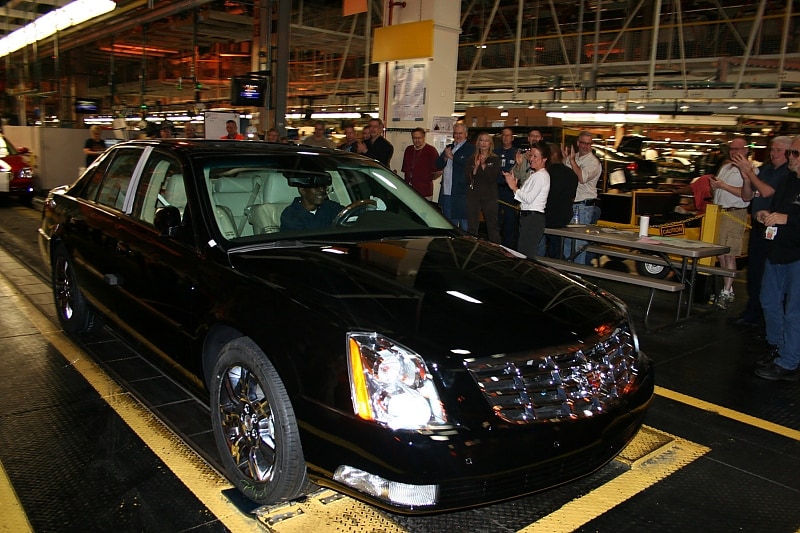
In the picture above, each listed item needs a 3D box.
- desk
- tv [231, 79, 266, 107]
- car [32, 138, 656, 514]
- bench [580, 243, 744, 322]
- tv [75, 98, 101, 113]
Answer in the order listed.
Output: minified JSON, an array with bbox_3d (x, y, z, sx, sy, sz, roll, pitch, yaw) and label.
[{"bbox_3d":[3.543,-0.117,7.236,1.859,0.840,2.854,-9,15,-35],"label":"desk"},{"bbox_3d":[-3.339,-3.803,11.719,0.758,0.465,0.396,-8,23,-44],"label":"tv"},{"bbox_3d":[-0.934,0.098,4.361,5.185,2.183,2.076,13,18,43],"label":"car"},{"bbox_3d":[3.661,-0.057,7.077,1.712,0.615,1.594,-8,14,-32],"label":"bench"},{"bbox_3d":[-12.080,-6.129,20.517,0.164,0.515,1.133,12,13,30],"label":"tv"}]
